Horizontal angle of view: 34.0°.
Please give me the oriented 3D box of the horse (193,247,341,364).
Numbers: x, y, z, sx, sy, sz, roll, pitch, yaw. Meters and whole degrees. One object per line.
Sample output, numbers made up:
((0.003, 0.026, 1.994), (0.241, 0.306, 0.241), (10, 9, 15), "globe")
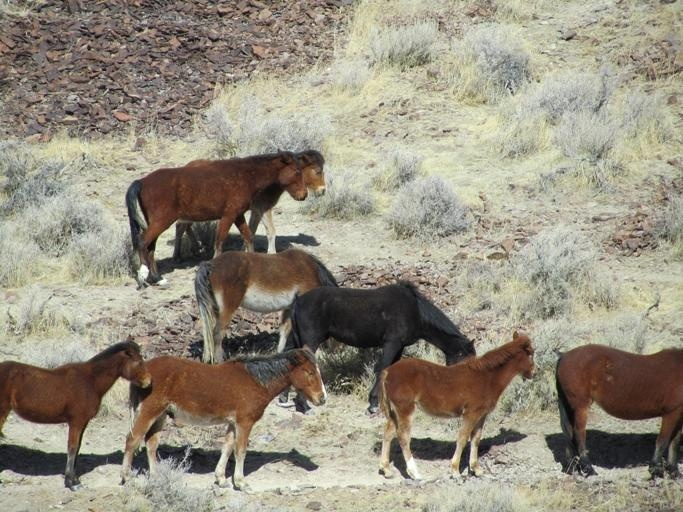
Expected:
((-1.396, 0.981, 21.346), (3.081, 2.391, 0.838), (4, -1, -34), "horse")

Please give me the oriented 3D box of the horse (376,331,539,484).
((2.046, 2.600, 19.471), (2.757, 2.866, 0.924), (1, 8, 5), "horse")
